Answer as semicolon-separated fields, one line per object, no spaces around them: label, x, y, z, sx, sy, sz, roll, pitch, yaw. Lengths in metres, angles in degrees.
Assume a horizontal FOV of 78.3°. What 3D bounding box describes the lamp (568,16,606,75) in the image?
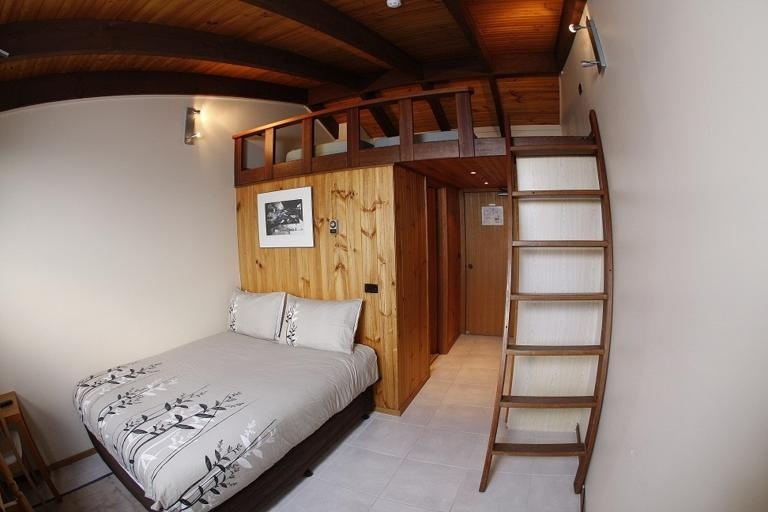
lamp;1.596;-1.658;3.727;0.226;0.502;0.470;-3;6;16

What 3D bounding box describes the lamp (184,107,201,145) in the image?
lamp;-1.999;-1.360;4.928;0.057;0.382;0.190;1;9;43

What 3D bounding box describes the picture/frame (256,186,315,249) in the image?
picture/frame;-1.045;-0.395;4.981;0.751;0.612;0.114;-1;8;34
